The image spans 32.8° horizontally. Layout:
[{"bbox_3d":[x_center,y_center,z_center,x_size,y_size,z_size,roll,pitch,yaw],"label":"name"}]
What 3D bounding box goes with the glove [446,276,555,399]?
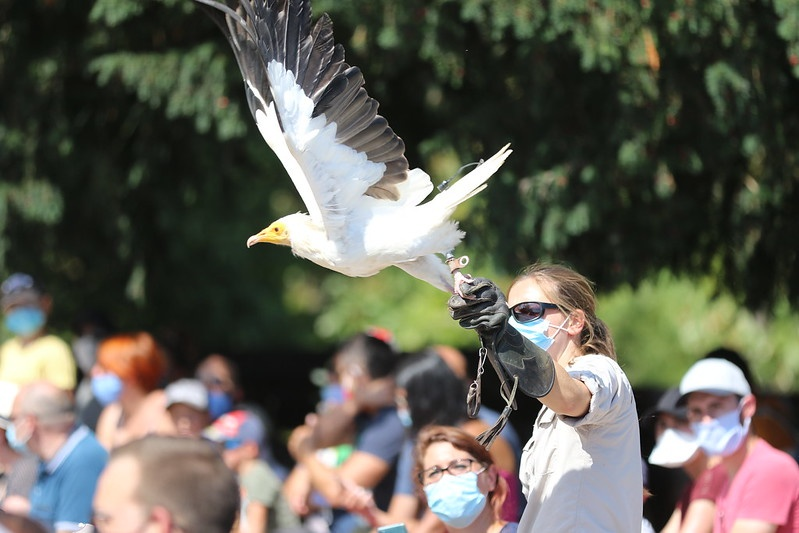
[{"bbox_3d":[0.808,0.542,10.651,0.531,1.066,0.476,-29,-11,-20],"label":"glove"}]
